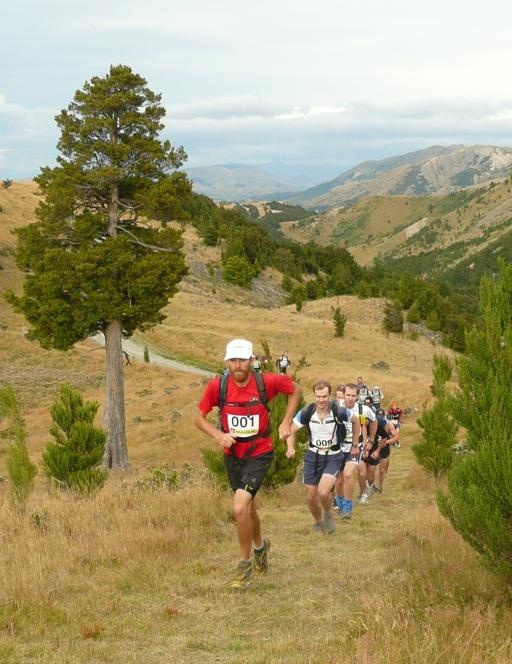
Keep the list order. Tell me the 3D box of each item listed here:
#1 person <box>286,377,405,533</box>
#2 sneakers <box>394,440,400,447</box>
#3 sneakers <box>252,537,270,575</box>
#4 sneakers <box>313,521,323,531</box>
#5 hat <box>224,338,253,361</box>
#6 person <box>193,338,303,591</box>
[{"bbox_3d":[0.906,1.654,11.817,0.619,2.072,1.420,3,2,17],"label":"person"},{"bbox_3d":[4.145,3.226,25.447,0.112,0.225,0.202,-2,-23,0],"label":"sneakers"},{"bbox_3d":[0.053,2.511,9.898,0.133,0.425,0.185,-4,-13,38],"label":"sneakers"},{"bbox_3d":[0.875,2.628,11.941,0.137,0.142,0.098,11,16,30],"label":"sneakers"},{"bbox_3d":[-0.169,0.184,9.343,0.274,0.231,0.281,2,2,1],"label":"hat"},{"bbox_3d":[-0.088,1.388,9.872,1.111,2.666,1.246,2,2,1],"label":"person"}]
